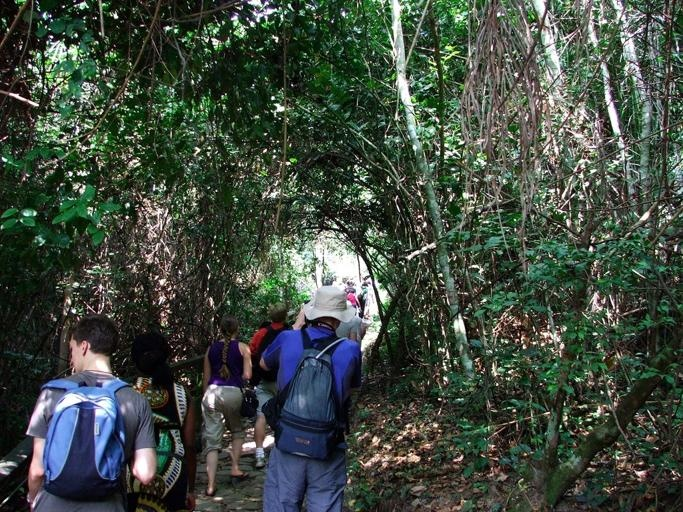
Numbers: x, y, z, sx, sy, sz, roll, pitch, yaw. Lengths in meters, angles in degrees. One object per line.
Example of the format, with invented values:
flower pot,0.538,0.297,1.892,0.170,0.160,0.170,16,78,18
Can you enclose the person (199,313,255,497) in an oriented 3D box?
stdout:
person,-1.259,1.585,5.519,0.513,1.856,0.401,3,-8,-16

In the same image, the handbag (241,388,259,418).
handbag,-1.001,1.602,5.525,0.183,0.322,0.413,2,-9,-8

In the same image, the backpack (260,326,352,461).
backpack,-0.233,0.865,3.255,0.495,0.771,0.242,3,-7,-10

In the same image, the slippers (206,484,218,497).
slippers,-1.366,2.422,5.254,0.103,0.114,0.102,3,-8,-13
